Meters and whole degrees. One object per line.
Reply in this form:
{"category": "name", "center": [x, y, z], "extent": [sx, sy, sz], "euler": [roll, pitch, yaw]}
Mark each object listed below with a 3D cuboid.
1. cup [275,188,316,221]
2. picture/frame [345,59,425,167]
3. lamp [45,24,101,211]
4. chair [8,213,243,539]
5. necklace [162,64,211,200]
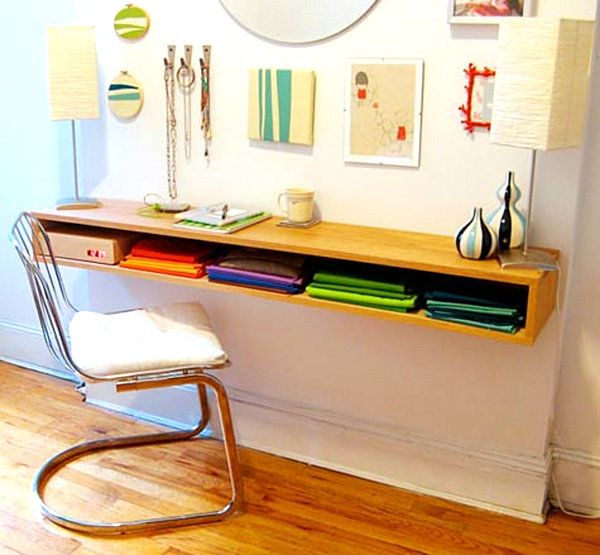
{"category": "cup", "center": [-0.011, -0.255, 1.892], "extent": [0.141, 0.101, 0.107], "euler": [2, 17, 11]}
{"category": "picture/frame", "center": [0.276, -0.532, 1.753], "extent": [0.347, 0.379, 0.027], "euler": [7, 15, 24]}
{"category": "lamp", "center": [-0.865, -0.612, 2.143], "extent": [0.222, 0.658, 0.385], "euler": [-8, 22, -16]}
{"category": "chair", "center": [-0.533, 0.278, 1.894], "extent": [0.808, 0.894, 0.758], "euler": [8, 13, 19]}
{"category": "necklace", "center": [-0.419, -0.546, 2.071], "extent": [0.191, 0.512, 0.160], "euler": [-7, 22, -14]}
